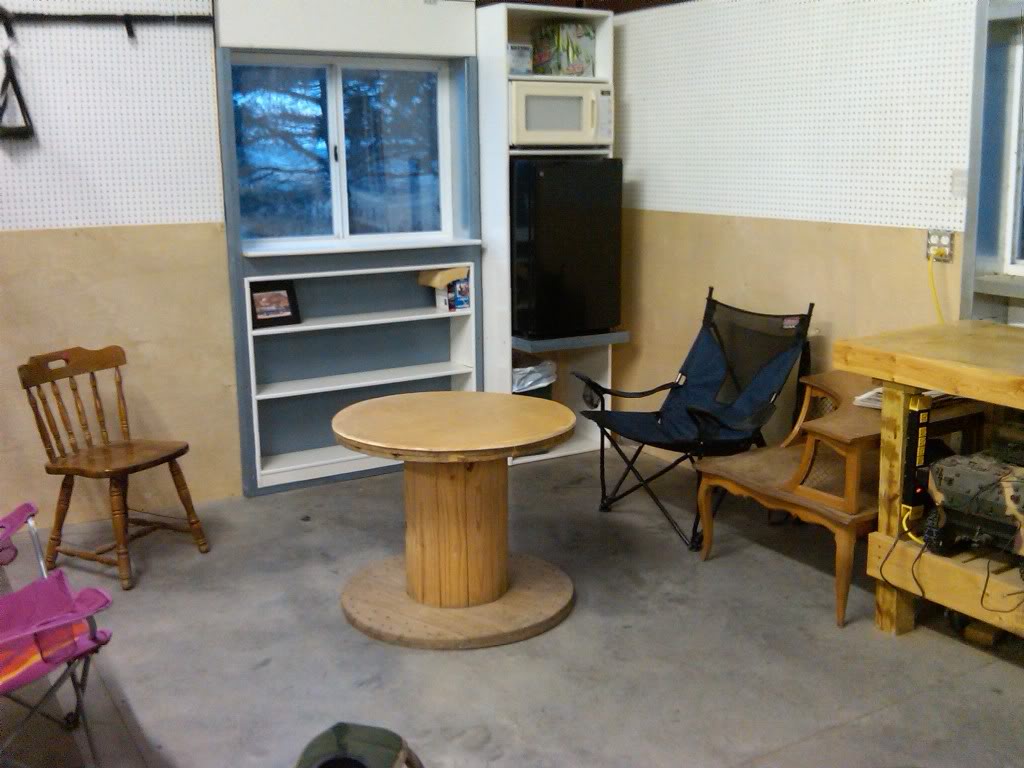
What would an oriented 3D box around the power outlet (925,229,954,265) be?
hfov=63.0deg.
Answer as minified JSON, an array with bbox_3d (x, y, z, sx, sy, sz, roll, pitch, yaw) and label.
[{"bbox_3d":[2.127,-0.692,4.151,0.067,0.154,0.146,-14,21,-33],"label":"power outlet"}]

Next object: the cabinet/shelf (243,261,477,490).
[{"bbox_3d":[-0.982,-0.071,5.044,1.308,1.256,0.308,-6,9,-30],"label":"cabinet/shelf"}]

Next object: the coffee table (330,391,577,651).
[{"bbox_3d":[-0.276,0.590,3.992,1.077,0.863,1.084,5,12,35],"label":"coffee table"}]

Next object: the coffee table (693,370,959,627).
[{"bbox_3d":[1.607,0.437,4.292,1.072,0.927,1.043,-8,11,-37],"label":"coffee table"}]

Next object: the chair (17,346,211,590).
[{"bbox_3d":[-2.078,0.398,4.416,0.821,1.129,0.784,10,14,39],"label":"chair"}]

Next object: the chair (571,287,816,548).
[{"bbox_3d":[0.995,0.151,4.675,1.270,1.292,1.261,1,13,14],"label":"chair"}]
